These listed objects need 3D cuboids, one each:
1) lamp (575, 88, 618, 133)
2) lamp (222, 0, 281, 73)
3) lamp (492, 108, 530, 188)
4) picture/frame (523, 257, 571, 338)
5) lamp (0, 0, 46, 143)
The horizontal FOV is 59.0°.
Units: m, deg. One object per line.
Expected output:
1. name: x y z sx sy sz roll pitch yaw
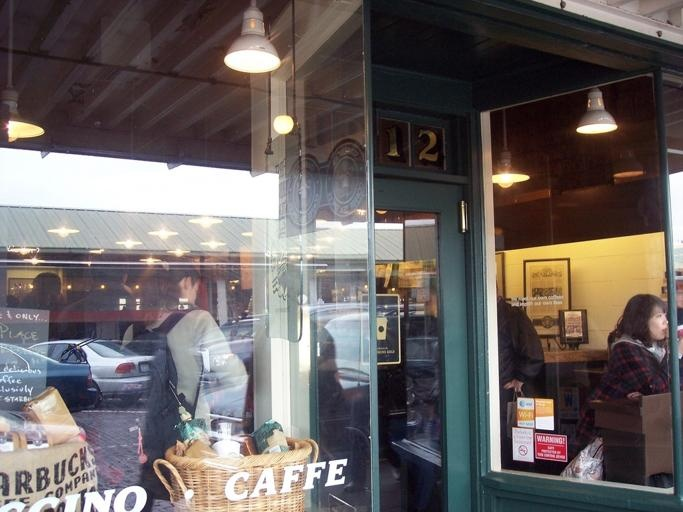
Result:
1. lamp: 1.567 -0.902 3.717 0.233 0.279 0.247 -3 -2 23
2. lamp: -0.404 -1.021 2.720 0.263 0.326 0.287 -2 -4 -11
3. lamp: 1.096 -0.690 3.945 0.242 0.507 0.059 -2 -3 -8
4. picture/frame: 1.296 0.277 3.813 0.278 0.522 0.018 -2 10 14
5. lamp: -1.265 -0.730 2.377 0.139 0.590 0.076 -3 -3 6
